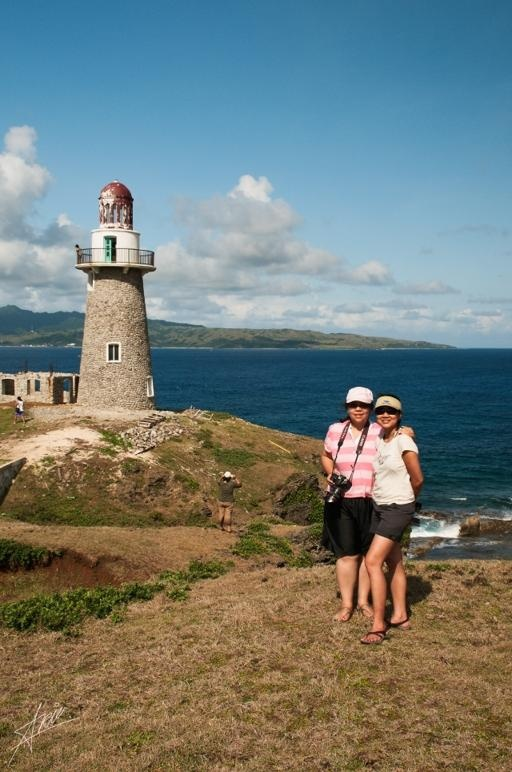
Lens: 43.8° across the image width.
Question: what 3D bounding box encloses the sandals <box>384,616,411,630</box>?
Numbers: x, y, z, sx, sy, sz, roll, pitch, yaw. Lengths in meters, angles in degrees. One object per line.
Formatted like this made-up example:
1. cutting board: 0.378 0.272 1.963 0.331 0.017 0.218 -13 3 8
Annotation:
1. sandals: 2.124 3.523 9.539 0.332 0.117 0.167 7 -9 -6

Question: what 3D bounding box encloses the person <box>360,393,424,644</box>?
1. person: 1.863 1.852 8.894 0.907 3.334 1.274 -5 0 9

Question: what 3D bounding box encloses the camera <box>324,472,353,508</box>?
1. camera: 1.139 1.460 9.090 0.438 0.422 0.196 21 5 1
